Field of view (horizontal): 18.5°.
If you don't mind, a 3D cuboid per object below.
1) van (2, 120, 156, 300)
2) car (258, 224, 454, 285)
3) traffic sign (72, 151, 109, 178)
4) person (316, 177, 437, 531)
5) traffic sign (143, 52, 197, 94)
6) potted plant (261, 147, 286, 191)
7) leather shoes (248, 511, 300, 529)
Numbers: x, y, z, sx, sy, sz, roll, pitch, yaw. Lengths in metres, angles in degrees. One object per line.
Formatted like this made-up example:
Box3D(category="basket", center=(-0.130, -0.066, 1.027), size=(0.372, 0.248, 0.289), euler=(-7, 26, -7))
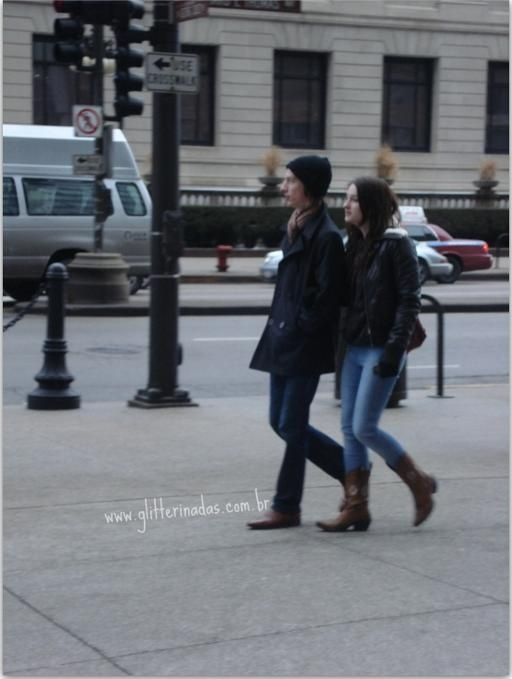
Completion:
Box3D(category="van", center=(-2.445, -1.954, 21.989), size=(2.967, 2.619, 1.871), euler=(-3, 6, -23))
Box3D(category="car", center=(1.337, -0.835, 19.086), size=(2.302, 0.770, 0.996), euler=(-6, 12, -9))
Box3D(category="traffic sign", center=(-1.985, -2.080, 18.600), size=(0.294, 0.197, 0.296), euler=(-1, 9, -15))
Box3D(category="person", center=(0.625, 0.096, 7.975), size=(0.514, 1.818, 0.408), euler=(6, 7, 32))
Box3D(category="traffic sign", center=(-0.605, -1.914, 11.235), size=(0.304, 0.218, 0.052), euler=(0, -1, -20))
Box3D(category="potted plant", center=(0.265, -2.858, 26.285), size=(0.376, 0.747, 0.407), euler=(0, -6, 17))
Box3D(category="leather shoes", center=(0.108, 0.950, 8.154), size=(0.287, 0.125, 0.099), euler=(2, -5, -7))
